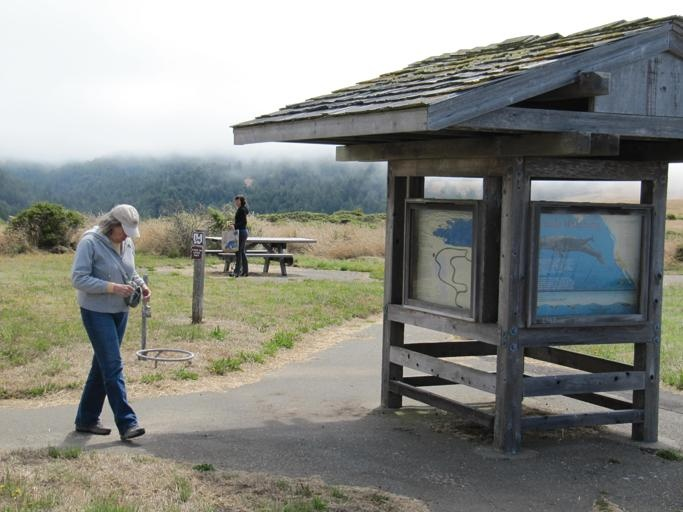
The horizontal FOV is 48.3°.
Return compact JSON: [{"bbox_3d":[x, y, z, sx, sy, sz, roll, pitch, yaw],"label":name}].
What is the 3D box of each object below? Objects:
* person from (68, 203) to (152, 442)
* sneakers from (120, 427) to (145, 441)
[{"bbox_3d":[-2.390,0.648,7.860,0.741,2.370,0.825,1,6,-18],"label":"person"},{"bbox_3d":[-2.110,1.804,7.710,0.263,0.106,0.108,-24,-25,25],"label":"sneakers"}]
